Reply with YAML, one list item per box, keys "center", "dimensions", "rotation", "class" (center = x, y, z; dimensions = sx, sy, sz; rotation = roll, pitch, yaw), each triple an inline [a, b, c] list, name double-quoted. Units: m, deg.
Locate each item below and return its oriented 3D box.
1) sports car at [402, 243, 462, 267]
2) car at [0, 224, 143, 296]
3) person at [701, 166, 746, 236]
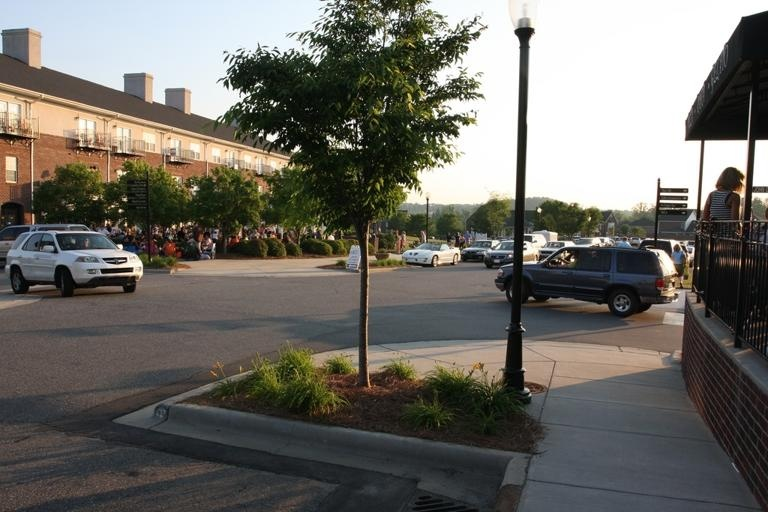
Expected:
- center: [2.959, -0.094, 38.940]
  dimensions: [1.421, 1.020, 2.704]
  rotation: [-1, -2, 39]
  class: "sports car"
- center: [-9.880, 0.136, 20.875]
  dimensions: [3.638, 1.559, 2.117]
  rotation: [-4, -3, 41]
  class: "car"
- center: [5.535, -0.938, 10.940]
  dimensions: [0.595, 1.072, 2.260]
  rotation: [5, 12, 27]
  class: "person"
